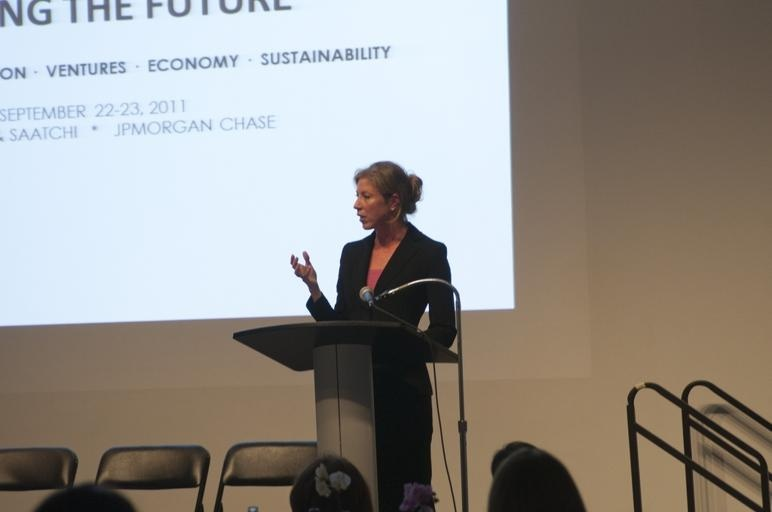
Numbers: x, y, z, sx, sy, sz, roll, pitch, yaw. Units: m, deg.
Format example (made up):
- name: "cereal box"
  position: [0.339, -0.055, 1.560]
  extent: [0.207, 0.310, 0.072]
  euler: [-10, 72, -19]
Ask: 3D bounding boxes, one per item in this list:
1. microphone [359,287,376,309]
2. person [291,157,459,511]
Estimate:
- name: "microphone"
  position: [-0.113, 0.225, 7.785]
  extent: [0.068, 0.075, 0.130]
  euler: [3, 31, -19]
- name: "person"
  position: [-0.020, 0.456, 8.012]
  extent: [0.894, 2.179, 0.810]
  euler: [-1, -2, 5]
